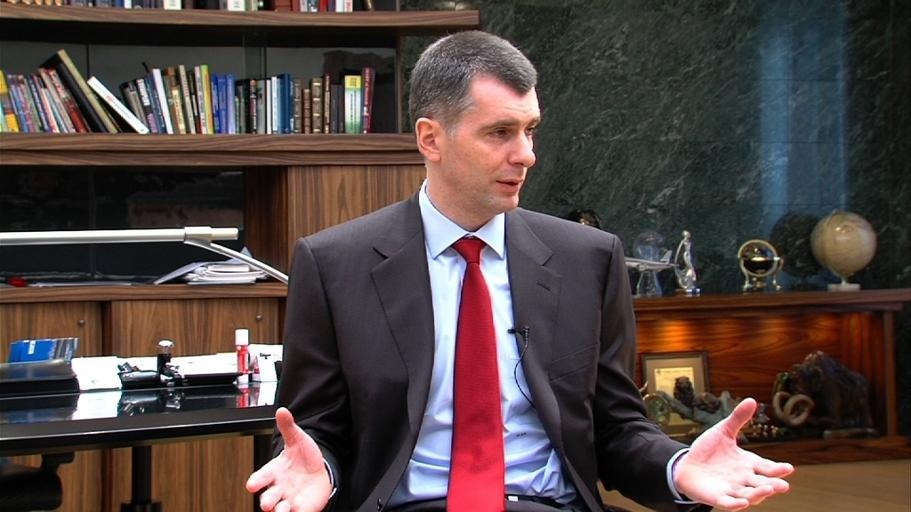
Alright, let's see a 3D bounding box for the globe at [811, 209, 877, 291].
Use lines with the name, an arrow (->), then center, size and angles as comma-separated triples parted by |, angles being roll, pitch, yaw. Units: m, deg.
globe -> 2.934, -0.080, 5.611 | 0.432, 0.608, 0.189 | -3, 0, 27
